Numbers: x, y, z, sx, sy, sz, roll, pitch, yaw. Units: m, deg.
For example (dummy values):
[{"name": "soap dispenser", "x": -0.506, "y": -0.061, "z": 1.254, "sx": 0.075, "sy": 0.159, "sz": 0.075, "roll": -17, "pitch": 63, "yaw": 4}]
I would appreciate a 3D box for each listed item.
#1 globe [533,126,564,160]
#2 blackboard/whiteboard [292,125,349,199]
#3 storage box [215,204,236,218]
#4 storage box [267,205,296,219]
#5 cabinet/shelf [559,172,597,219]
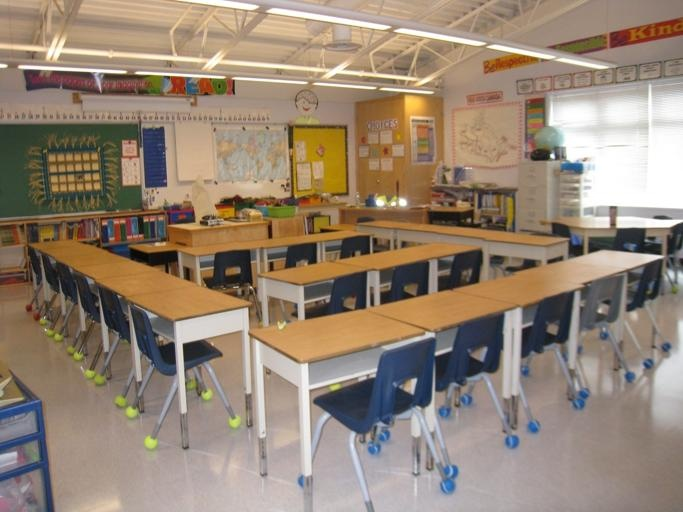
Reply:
[{"name": "globe", "x": 3.715, "y": -2.024, "z": 9.558, "sx": 0.504, "sy": 0.573, "sz": 0.295, "roll": 2, "pitch": 12, "yaw": 23}, {"name": "blackboard/whiteboard", "x": -0.537, "y": -2.132, "z": 11.937, "sx": 1.892, "sy": 1.907, "sz": 0.145, "roll": -5, "pitch": 6, "yaw": -38}, {"name": "storage box", "x": -2.252, "y": -0.880, "z": 10.369, "sx": 0.350, "sy": 0.239, "sz": 0.546, "roll": -5, "pitch": 11, "yaw": -13}, {"name": "storage box", "x": -0.965, "y": -0.734, "z": 8.858, "sx": 0.334, "sy": 0.141, "sz": 0.224, "roll": -5, "pitch": 9, "yaw": -36}, {"name": "cabinet/shelf", "x": 4.166, "y": -1.121, "z": 9.547, "sx": 0.541, "sy": 0.803, "sz": 0.572, "roll": 5, "pitch": 14, "yaw": 36}]
